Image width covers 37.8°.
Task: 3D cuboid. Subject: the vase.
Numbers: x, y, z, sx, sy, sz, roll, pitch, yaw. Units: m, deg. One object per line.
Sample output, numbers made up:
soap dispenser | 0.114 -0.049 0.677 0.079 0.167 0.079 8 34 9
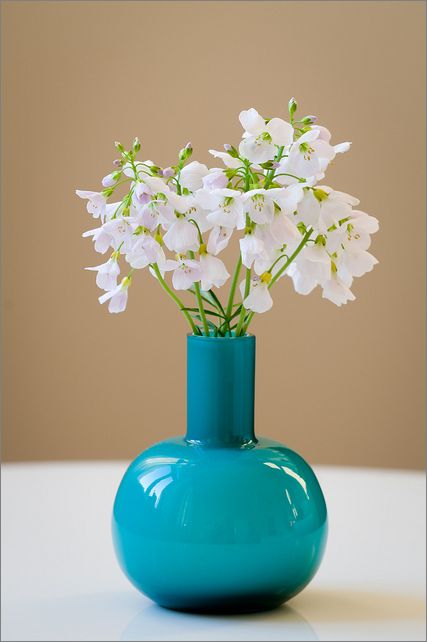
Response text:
vase | 0.008 0.122 0.614 0.245 0.293 0.222 0 -2 -3

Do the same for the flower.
flower | 0.020 -0.080 0.575 0.267 0.234 0.195 -2 8 -2
